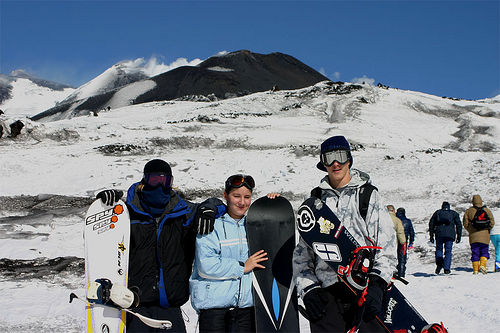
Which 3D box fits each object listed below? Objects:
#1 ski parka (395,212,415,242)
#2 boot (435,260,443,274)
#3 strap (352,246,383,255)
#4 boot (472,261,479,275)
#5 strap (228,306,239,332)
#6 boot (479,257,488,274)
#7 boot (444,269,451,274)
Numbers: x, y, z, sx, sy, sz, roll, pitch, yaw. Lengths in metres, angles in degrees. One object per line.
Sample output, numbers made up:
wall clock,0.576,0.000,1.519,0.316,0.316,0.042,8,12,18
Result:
ski parka,7.034,2.718,28.028,0.885,1.221,0.486,-4,4,-1
boot,8.108,4.308,26.701,0.332,0.586,0.330,-1,-7,15
strap,3.705,2.650,19.624,0.904,0.264,0.180,0,-7,7
boot,9.470,4.227,26.098,0.232,0.522,0.418,-2,-7,19
strap,-0.546,4.889,19.931,0.318,0.768,0.062,2,-7,-14
boot,9.800,4.150,26.146,0.345,0.682,0.645,-2,-8,20
boot,8.317,4.439,26.188,0.212,0.214,0.131,0,-1,-3
